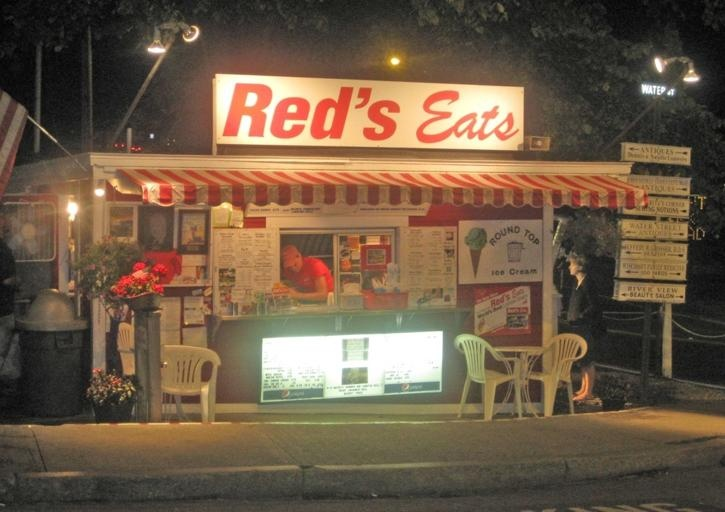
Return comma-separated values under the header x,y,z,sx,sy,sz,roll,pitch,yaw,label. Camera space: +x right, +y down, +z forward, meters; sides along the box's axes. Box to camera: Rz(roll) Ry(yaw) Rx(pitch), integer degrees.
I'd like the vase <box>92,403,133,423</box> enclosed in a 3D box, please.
x,y,z,sx,sy,sz,roll,pitch,yaw,label
-3.763,2.359,19.389,0.335,0.246,0.413,-2,-9,19,vase

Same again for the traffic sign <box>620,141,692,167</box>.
x,y,z,sx,sy,sz,roll,pitch,yaw,label
4.801,-1.720,21.194,1.282,0.385,0.393,5,-7,-24,traffic sign

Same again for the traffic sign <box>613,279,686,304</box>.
x,y,z,sx,sy,sz,roll,pitch,yaw,label
4.759,0.572,21.393,1.130,0.416,0.964,0,-7,15,traffic sign

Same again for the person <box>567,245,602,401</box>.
x,y,z,sx,sy,sz,roll,pitch,yaw,label
3.797,1.189,22.216,0.612,2.366,0.533,0,5,32,person

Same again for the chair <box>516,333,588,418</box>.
x,y,z,sx,sy,sz,roll,pitch,yaw,label
3.205,1.908,20.961,1.279,1.671,1.294,3,-4,-33,chair

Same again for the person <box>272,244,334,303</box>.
x,y,z,sx,sy,sz,roll,pitch,yaw,label
-0.947,0.288,20.694,0.972,0.880,0.364,2,-7,-4,person

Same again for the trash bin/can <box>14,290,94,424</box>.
x,y,z,sx,sy,sz,roll,pitch,yaw,label
-4.890,1.532,20.193,1.050,2.019,0.459,4,-7,-16,trash bin/can

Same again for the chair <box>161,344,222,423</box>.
x,y,z,sx,sy,sz,roll,pitch,yaw,label
-2.703,1.983,19.432,1.039,1.203,0.964,0,-1,-41,chair

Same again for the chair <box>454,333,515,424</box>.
x,y,z,sx,sy,sz,roll,pitch,yaw,label
2.062,1.956,20.832,1.089,1.472,0.919,3,-3,-36,chair

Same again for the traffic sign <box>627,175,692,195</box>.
x,y,z,sx,sy,sz,roll,pitch,yaw,label
4.901,-1.182,21.127,1.112,0.334,0.287,4,-7,-19,traffic sign

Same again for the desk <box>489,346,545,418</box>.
x,y,z,sx,sy,sz,roll,pitch,yaw,label
2.551,2.025,21.002,0.863,1.206,0.818,0,4,-10,desk

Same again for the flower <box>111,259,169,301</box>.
x,y,z,sx,sy,sz,roll,pitch,yaw,label
-3.381,0.357,19.291,0.685,0.477,0.660,-3,4,-23,flower
